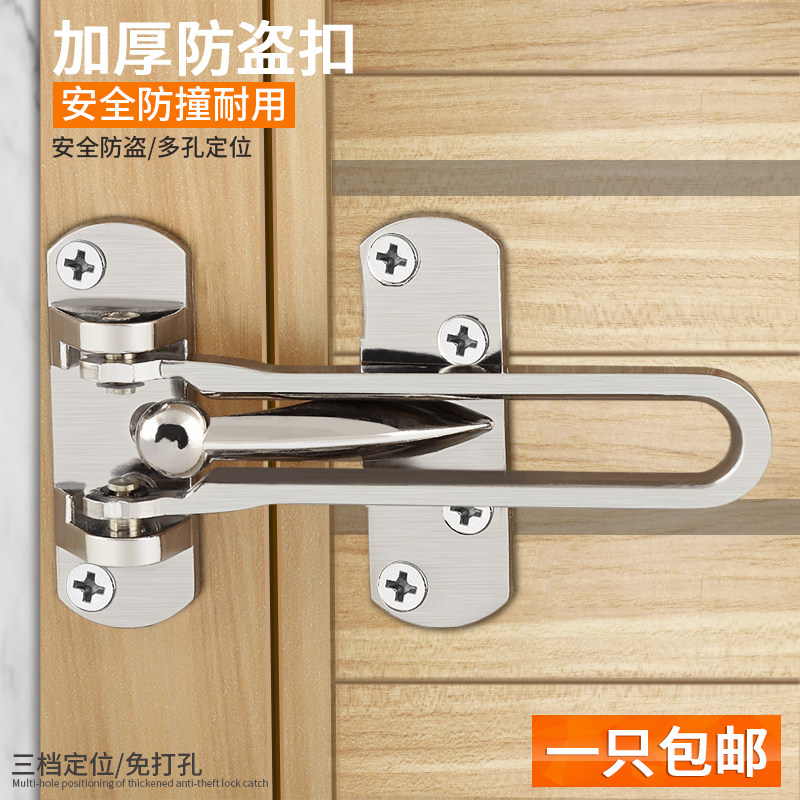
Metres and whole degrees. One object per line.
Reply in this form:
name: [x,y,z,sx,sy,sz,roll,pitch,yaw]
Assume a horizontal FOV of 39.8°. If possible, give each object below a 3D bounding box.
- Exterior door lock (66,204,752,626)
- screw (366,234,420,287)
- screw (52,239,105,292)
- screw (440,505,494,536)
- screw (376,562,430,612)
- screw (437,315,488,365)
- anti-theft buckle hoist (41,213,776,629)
Exterior door lock: [-0.006,-0.002,0.726,0.443,0.173,0.070,-1,5,-3]
screw: [-0.008,-0.092,0.740,0.050,0.032,0.038,2,0,-1]
screw: [-0.213,-0.090,0.720,0.044,0.028,0.008,3,6,-3]
screw: [0.042,0.080,0.738,0.035,0.022,0.007,0,12,3]
screw: [-0.002,0.129,0.753,0.038,0.027,0.036,16,-19,-34]
screw: [0.040,-0.041,0.734,0.048,0.030,0.009,1,6,2]
anti-theft buckle hoist: [-0.001,0.019,0.758,0.631,0.266,0.112,-1,1,-32]
